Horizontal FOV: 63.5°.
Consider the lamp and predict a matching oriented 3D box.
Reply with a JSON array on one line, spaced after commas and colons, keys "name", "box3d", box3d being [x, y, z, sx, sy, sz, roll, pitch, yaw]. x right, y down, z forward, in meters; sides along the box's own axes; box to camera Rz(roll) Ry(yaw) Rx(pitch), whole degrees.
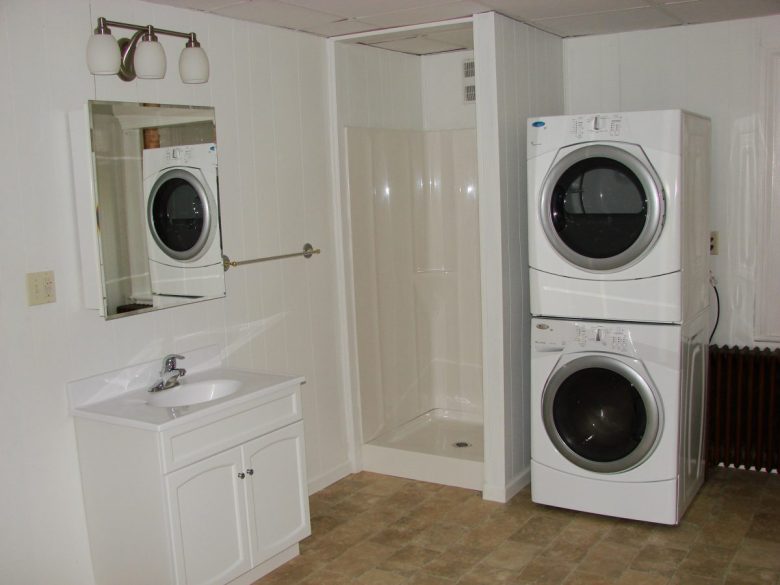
[{"name": "lamp", "box3d": [-1.131, -1.119, 2.917, 0.567, 0.279, 0.311, -12, 14, -39]}]

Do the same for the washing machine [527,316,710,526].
[{"name": "washing machine", "box3d": [1.192, 0.653, 3.872, 0.934, 1.403, 1.036, 0, 0, 36]}]

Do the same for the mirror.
[{"name": "mirror", "box3d": [-1.112, -0.412, 3.059, 0.132, 0.977, 0.740, 2, 11, 27]}]

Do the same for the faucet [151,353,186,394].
[{"name": "faucet", "box3d": [-1.085, 0.401, 3.067, 0.076, 0.161, 0.209, 5, 13, 39]}]
